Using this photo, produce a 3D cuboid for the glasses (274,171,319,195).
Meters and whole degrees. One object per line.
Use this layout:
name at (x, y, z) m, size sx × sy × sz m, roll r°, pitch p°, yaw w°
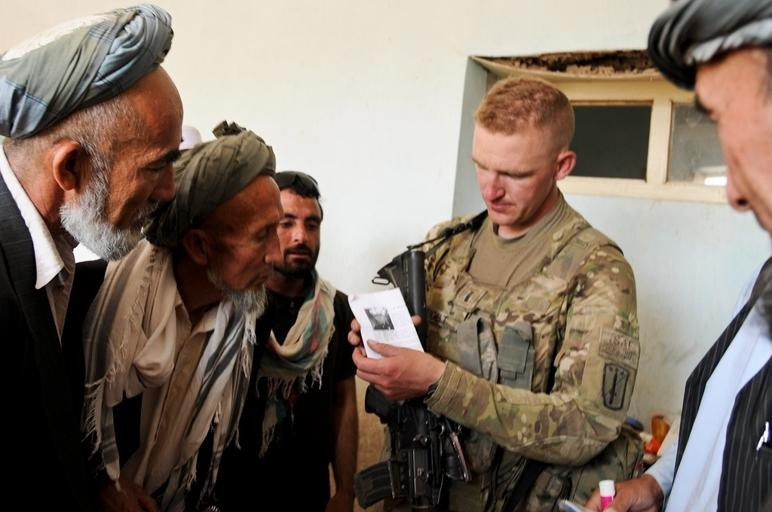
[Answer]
glasses at (-0.501, -0.415, 3.390) m, size 0.133 × 0.060 × 0.158 m, roll 11°, pitch -13°, yaw -23°
